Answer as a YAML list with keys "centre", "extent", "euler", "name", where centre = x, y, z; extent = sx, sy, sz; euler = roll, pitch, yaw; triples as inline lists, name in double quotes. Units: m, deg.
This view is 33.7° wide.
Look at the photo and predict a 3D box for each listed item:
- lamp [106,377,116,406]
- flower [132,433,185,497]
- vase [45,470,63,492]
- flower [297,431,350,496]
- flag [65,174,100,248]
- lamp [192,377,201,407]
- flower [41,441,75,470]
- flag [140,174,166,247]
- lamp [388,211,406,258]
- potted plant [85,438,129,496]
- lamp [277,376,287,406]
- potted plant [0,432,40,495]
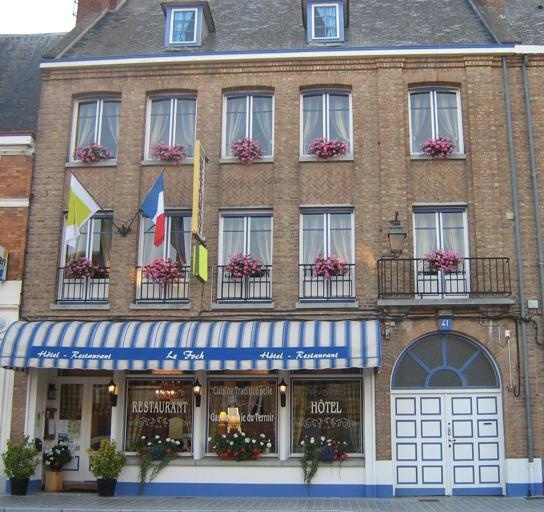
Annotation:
- centre: [-4.048, 3.465, 22.815]
  extent: [0.229, 0.712, 0.256]
  euler: [-9, -15, 33]
  name: "lamp"
- centre: [-2.910, 5.139, 22.237]
  extent: [1.005, 1.283, 0.421]
  euler: [0, -22, 12]
  name: "flower"
- centre: [-5.516, 5.723, 22.825]
  extent: [0.450, 0.507, 0.351]
  euler: [2, -13, -14]
  name: "vase"
- centre: [1.172, 5.123, 22.116]
  extent: [0.995, 1.263, 0.626]
  euler: [2, -4, -5]
  name: "flower"
- centre: [-4.767, -1.166, 22.521]
  extent: [0.699, 1.766, 0.467]
  euler: [8, -15, -34]
  name: "flag"
- centre: [-1.868, 3.436, 22.609]
  extent: [0.176, 0.748, 0.191]
  euler: [0, -12, -3]
  name: "lamp"
- centre: [-5.413, 5.114, 23.021]
  extent: [0.636, 0.601, 0.646]
  euler: [-10, -15, 40]
  name: "flower"
- centre: [-2.975, -1.214, 22.558]
  extent: [0.573, 1.921, 0.345]
  euler: [0, -12, -4]
  name: "flag"
- centre: [3.084, -0.647, 22.292]
  extent: [0.449, 1.166, 0.955]
  euler: [-3, -12, 9]
  name: "lamp"
- centre: [-4.071, 5.228, 22.190]
  extent: [0.911, 1.358, 1.067]
  euler: [2, -12, -11]
  name: "potted plant"
- centre: [0.283, 3.393, 22.327]
  extent: [0.188, 0.736, 0.251]
  euler: [-1, -12, 0]
  name: "lamp"
- centre: [-6.167, 5.148, 22.063]
  extent: [0.864, 1.413, 0.753]
  euler: [3, -13, -16]
  name: "potted plant"
